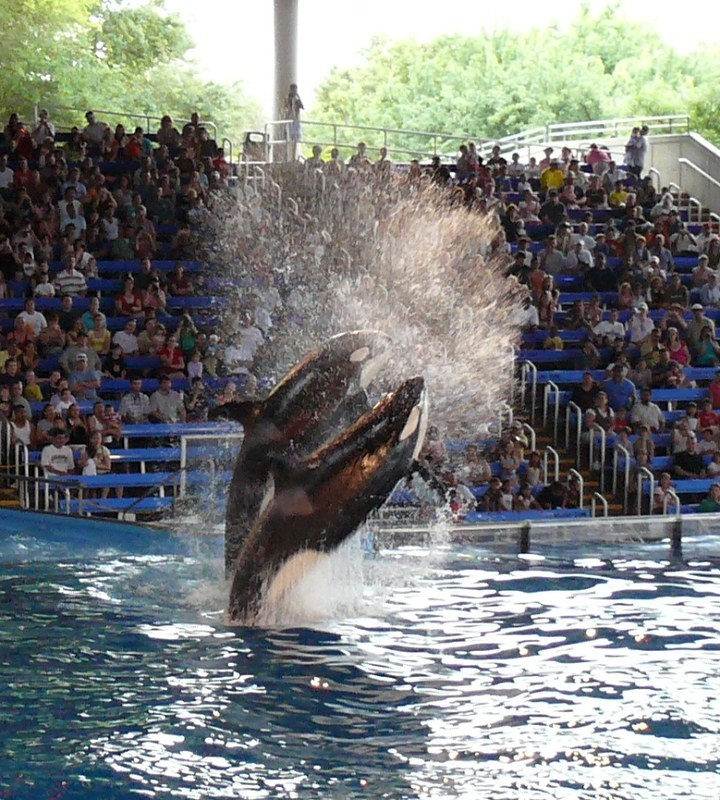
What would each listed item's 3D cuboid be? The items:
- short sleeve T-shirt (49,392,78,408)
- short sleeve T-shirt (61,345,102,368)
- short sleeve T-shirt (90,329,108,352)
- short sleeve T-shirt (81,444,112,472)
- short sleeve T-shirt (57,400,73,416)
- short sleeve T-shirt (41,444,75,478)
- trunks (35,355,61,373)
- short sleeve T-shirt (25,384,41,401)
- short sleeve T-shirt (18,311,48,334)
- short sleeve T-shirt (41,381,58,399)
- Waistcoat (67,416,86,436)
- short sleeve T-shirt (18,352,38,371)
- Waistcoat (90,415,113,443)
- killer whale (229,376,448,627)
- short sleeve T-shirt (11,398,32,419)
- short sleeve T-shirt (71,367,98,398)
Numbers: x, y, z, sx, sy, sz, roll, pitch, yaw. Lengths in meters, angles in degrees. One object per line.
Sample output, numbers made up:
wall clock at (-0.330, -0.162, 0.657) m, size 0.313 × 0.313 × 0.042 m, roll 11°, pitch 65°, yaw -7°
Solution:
short sleeve T-shirt at (-3.396, 0.018, 18.265) m, size 0.340 × 0.254 × 0.177 m, roll 4°, pitch -11°, yaw -20°
short sleeve T-shirt at (-3.380, -0.561, 19.313) m, size 0.432 × 0.410 × 0.244 m, roll 2°, pitch 25°, yaw 0°
short sleeve T-shirt at (-3.254, -0.768, 19.847) m, size 0.293 × 0.326 × 0.180 m, roll 1°, pitch -2°, yaw -33°
short sleeve T-shirt at (-2.882, 0.659, 17.482) m, size 0.369 × 0.448 × 0.255 m, roll 2°, pitch -4°, yaw -34°
short sleeve T-shirt at (-3.354, 0.072, 18.134) m, size 0.175 × 0.135 × 0.075 m, roll -2°, pitch -6°, yaw -37°
short sleeve T-shirt at (-3.268, 0.644, 17.317) m, size 0.366 × 0.310 × 0.276 m, roll -2°, pitch 13°, yaw -18°
trunks at (-3.837, -0.469, 19.666) m, size 0.280 × 0.177 × 0.247 m, roll -1°, pitch 12°, yaw -13°
short sleeve T-shirt at (-3.832, -0.112, 18.689) m, size 0.172 × 0.167 × 0.093 m, roll -5°, pitch 31°, yaw 3°
short sleeve T-shirt at (-4.076, -0.989, 19.864) m, size 0.155 × 0.275 × 0.287 m, roll -23°, pitch -7°, yaw 25°
short sleeve T-shirt at (-3.673, -0.166, 18.940) m, size 0.200 × 0.271 × 0.095 m, roll 1°, pitch 42°, yaw -24°
Waistcoat at (-3.178, 0.337, 17.939) m, size 0.203 × 0.280 × 0.349 m, roll 0°, pitch 12°, yaw -11°
short sleeve T-shirt at (-3.988, -0.485, 19.141) m, size 0.133 × 0.177 × 0.309 m, roll -15°, pitch -19°, yaw 39°
Waistcoat at (-2.907, 0.340, 17.994) m, size 0.315 × 0.328 × 0.370 m, roll 1°, pitch 12°, yaw -7°
killer whale at (-0.285, 0.786, 12.023) m, size 1.456 × 2.158 × 0.379 m, roll 5°, pitch 13°, yaw 13°
short sleeve T-shirt at (-3.786, 0.077, 17.818) m, size 0.219 × 0.216 × 0.119 m, roll 1°, pitch -6°, yaw -17°
short sleeve T-shirt at (-3.299, -0.213, 19.134) m, size 0.361 × 0.346 × 0.253 m, roll -2°, pitch 13°, yaw -18°
